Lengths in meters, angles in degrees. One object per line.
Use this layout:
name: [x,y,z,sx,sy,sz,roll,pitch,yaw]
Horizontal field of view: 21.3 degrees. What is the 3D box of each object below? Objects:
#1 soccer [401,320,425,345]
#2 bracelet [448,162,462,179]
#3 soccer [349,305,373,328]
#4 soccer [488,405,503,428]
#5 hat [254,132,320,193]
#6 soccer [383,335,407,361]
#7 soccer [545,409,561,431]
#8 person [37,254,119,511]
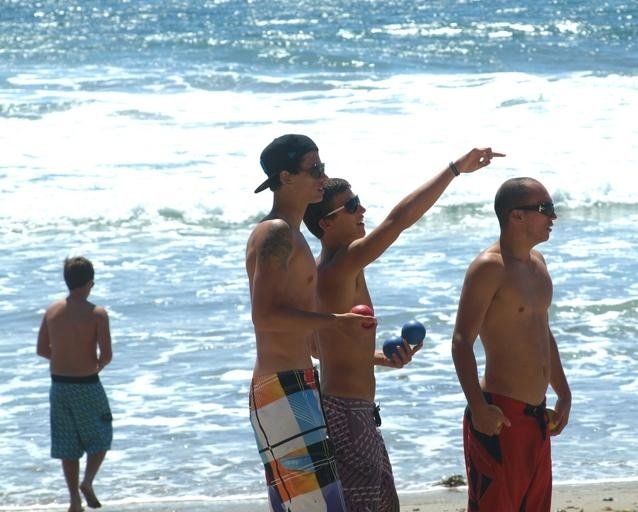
soccer: [1.390,1.129,24.817,0.354,0.365,0.344,5,1,24]
bracelet: [1.992,-1.230,24.746,0.060,0.186,0.189,-33,-39,10]
soccer: [0.644,0.865,24.334,0.321,0.300,0.314,-29,15,-38]
soccer: [2.571,2.325,24.405,0.128,0.299,0.237,-21,13,8]
hat: [-0.562,-1.337,24.710,1.181,0.700,0.766,-12,-9,0]
soccer: [1.080,1.362,24.789,0.338,0.353,0.319,3,4,6]
soccer: [3.401,2.397,24.722,0.317,0.271,0.304,2,4,14]
person: [-3.734,1.968,26.297,1.083,3.840,0.730,-3,5,-9]
